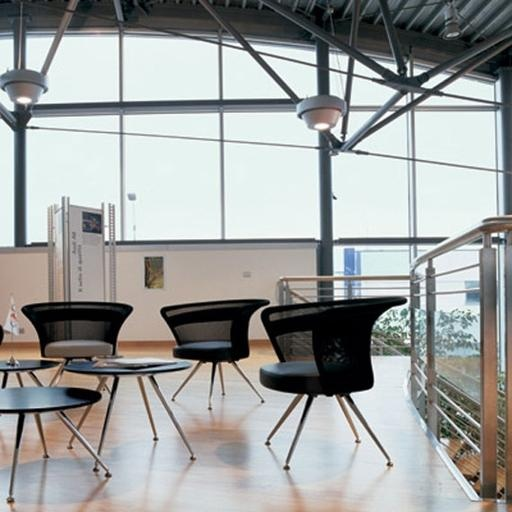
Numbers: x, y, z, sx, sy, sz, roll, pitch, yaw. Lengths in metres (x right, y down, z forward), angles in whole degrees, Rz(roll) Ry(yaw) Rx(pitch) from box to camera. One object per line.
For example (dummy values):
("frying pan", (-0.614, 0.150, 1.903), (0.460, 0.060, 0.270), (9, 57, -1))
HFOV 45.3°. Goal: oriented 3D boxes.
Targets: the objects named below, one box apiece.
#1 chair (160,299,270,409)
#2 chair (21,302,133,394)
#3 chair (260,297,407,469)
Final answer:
("chair", (-0.387, 0.727, 5.046), (0.995, 0.880, 0.828), (-5, -10, 39))
("chair", (-1.458, 0.719, 5.063), (1.066, 0.818, 0.695), (2, -16, -9))
("chair", (0.378, 0.709, 3.763), (0.949, 0.961, 0.941), (4, -5, -15))
